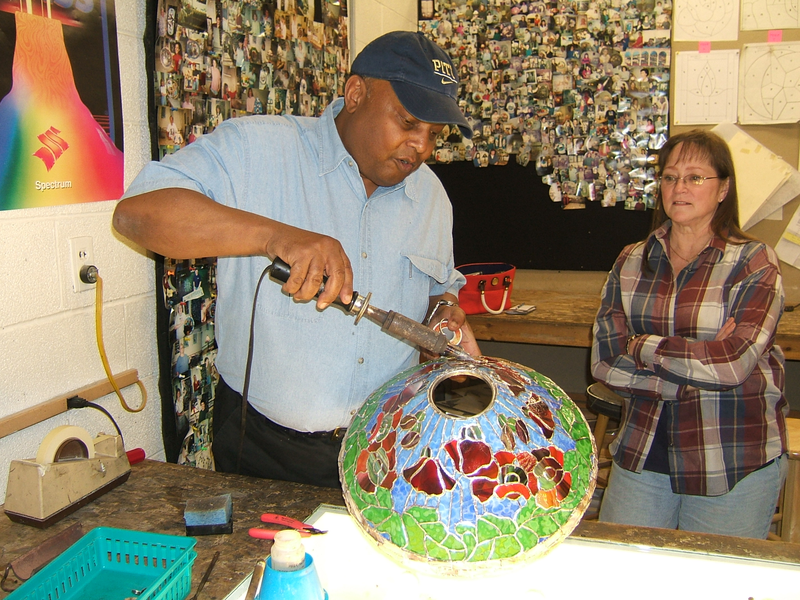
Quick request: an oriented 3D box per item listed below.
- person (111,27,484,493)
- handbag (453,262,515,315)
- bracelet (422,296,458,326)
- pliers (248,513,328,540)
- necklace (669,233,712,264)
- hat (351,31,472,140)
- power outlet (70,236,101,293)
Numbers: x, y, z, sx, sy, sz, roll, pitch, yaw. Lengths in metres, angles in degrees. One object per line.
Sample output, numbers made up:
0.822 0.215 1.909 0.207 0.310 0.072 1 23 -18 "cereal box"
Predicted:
-0.243 -0.088 2.044 1.099 1.379 0.722 -4 14 -25 "person"
0.476 -0.049 4.075 0.392 0.296 0.305 -7 11 -29 "handbag"
0.121 0.047 2.159 0.028 0.104 0.081 27 49 -16 "bracelet"
-0.269 0.565 1.712 0.175 0.028 0.103 5 9 9 "pliers"
1.136 -0.207 2.698 0.117 0.100 0.120 3 7 41 "necklace"
0.048 -0.639 1.994 0.336 0.185 0.239 35 21 15 "hat"
-0.964 -0.110 2.108 0.021 0.167 0.109 6 13 20 "power outlet"
